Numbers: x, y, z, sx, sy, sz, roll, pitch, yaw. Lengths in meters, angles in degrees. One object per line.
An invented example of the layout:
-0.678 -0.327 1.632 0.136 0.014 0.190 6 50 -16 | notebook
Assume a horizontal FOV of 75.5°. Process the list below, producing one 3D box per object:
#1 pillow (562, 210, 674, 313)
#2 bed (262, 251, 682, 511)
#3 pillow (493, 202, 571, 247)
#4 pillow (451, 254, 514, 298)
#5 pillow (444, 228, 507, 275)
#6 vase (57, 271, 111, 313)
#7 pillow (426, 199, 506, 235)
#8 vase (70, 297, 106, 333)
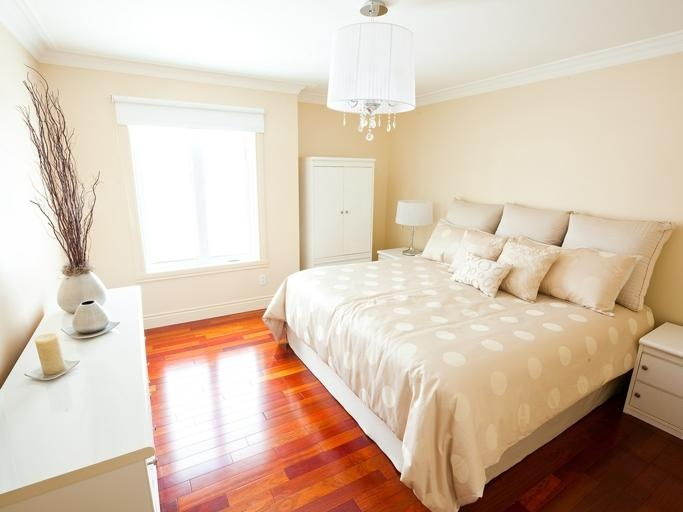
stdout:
2.161 0.075 3.494 0.210 0.710 0.717 21 1 -31 | pillow
1.066 0.688 2.967 1.696 0.445 1.732 -9 20 -28 | bed
1.734 -0.269 3.978 0.142 0.292 0.379 41 -17 -35 | pillow
1.158 0.164 3.657 0.134 0.334 0.459 29 -3 -26 | pillow
1.205 -0.028 3.936 0.124 0.396 0.394 26 -6 -28 | pillow
-1.774 0.219 3.065 0.264 0.273 0.274 0 8 -16 | vase
1.375 -0.411 4.489 0.317 0.280 0.657 -26 24 -22 | pillow
-1.549 0.381 2.765 0.177 0.188 0.184 2 17 -10 | vase
